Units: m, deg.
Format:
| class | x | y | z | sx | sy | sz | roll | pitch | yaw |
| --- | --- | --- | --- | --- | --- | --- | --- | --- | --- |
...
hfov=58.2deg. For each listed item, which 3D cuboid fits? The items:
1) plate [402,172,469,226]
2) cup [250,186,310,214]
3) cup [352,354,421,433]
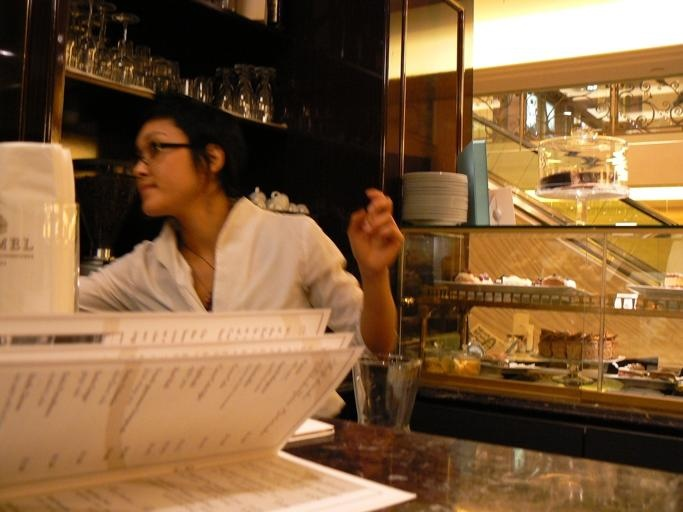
| class | x | y | z | sx | sy | sz | roll | pitch | yaw |
| --- | --- | --- | --- | --- | --- | --- | --- | --- | --- |
| plate | 0.431 | -0.262 | 2.821 | 0.240 | 0.201 | 0.256 | 0 | -4 | 7 |
| cup | -0.270 | -0.227 | 2.749 | 0.234 | 0.145 | 0.132 | 14 | -9 | -26 |
| cup | 0.059 | 0.183 | 0.845 | 0.090 | 0.113 | 0.097 | 0 | -6 | 0 |
